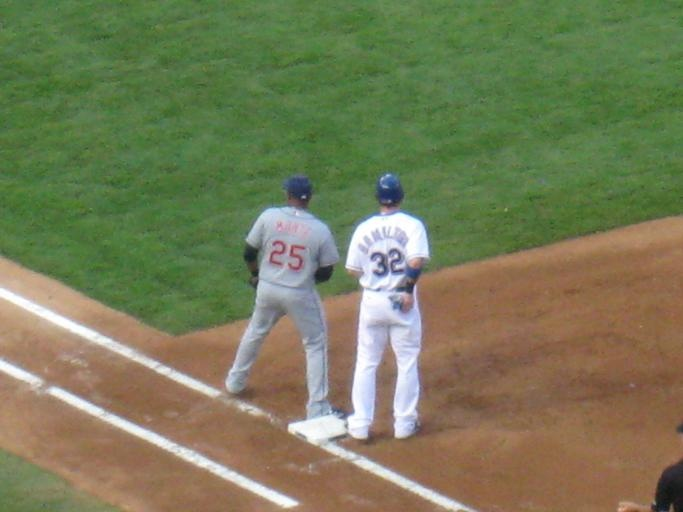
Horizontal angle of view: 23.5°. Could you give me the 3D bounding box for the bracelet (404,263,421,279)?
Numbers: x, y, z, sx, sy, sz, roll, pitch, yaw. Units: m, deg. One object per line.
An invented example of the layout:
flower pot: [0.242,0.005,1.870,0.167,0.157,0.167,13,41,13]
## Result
bracelet: [0.861,0.194,19.531,0.148,0.125,0.157,8,19,16]

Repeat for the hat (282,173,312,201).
hat: [-0.525,-0.816,19.782,0.249,0.336,0.323,5,8,10]

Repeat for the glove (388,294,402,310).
glove: [0.644,0.558,19.531,0.146,0.157,0.051,16,8,17]

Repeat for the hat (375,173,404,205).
hat: [0.554,-0.843,19.809,0.348,0.348,0.532,-9,24,-6]
